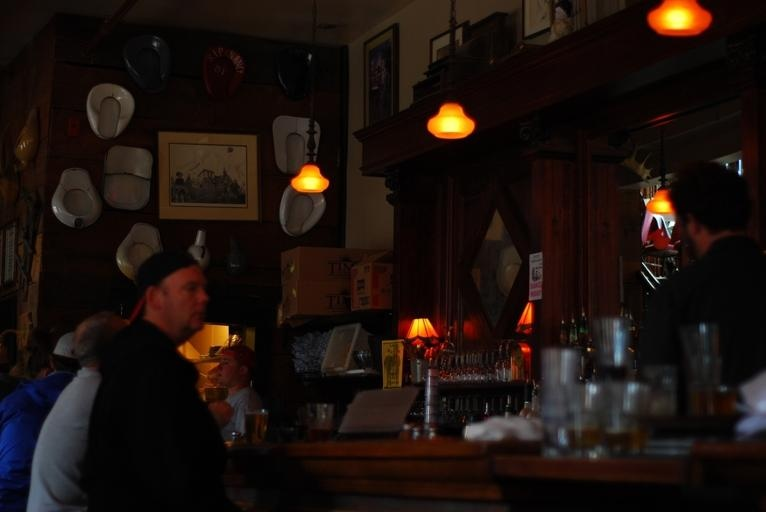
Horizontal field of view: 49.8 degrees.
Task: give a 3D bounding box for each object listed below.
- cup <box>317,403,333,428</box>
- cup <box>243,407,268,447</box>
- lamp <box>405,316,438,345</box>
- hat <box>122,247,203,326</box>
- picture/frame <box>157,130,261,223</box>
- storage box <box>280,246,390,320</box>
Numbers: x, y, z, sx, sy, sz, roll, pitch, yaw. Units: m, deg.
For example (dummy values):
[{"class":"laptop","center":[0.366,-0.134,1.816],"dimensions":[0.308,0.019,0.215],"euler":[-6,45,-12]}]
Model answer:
[{"class":"cup","center":[-0.308,0.864,4.433],"dimensions":[0.067,0.125,0.250],"euler":[1,-10,5]},{"class":"cup","center":[-0.678,0.899,4.391],"dimensions":[0.153,0.177,0.160],"euler":[2,-7,0]},{"class":"lamp","center":[0.322,0.629,6.892],"dimensions":[0.186,0.147,0.195],"euler":[-2,-1,30]},{"class":"hat","center":[-0.915,0.079,3.203],"dimensions":[0.287,0.132,0.389],"euler":[-12,30,-34]},{"class":"picture/frame","center":[-1.927,-0.829,8.857],"dimensions":[0.836,0.850,0.070],"euler":[-1,-2,-14]},{"class":"storage box","center":[-0.180,0.320,8.188],"dimensions":[1.092,0.710,1.076],"euler":[6,-1,-44]}]
